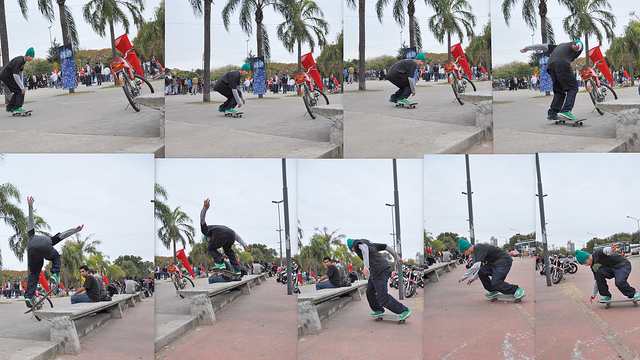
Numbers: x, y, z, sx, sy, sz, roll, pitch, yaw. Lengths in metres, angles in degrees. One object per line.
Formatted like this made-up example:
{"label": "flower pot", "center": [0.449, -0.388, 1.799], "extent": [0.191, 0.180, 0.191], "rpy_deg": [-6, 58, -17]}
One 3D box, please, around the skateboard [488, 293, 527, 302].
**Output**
{"label": "skateboard", "center": [4.078, 2.597, 7.985], "extent": [0.829, 0.138, 0.212], "rpy_deg": [1, 25, 8]}

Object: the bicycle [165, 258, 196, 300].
{"label": "bicycle", "center": [-2.971, 2.122, 7.707], "extent": [0.477, 0.526, 0.897], "rpy_deg": [20, -23, -5]}

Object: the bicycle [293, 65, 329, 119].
{"label": "bicycle", "center": [-0.379, -2.171, 8.867], "extent": [0.798, 1.114, 1.894], "rpy_deg": [-28, 13, 1]}

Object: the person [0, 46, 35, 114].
{"label": "person", "center": [-6.382, -2.068, 7.649], "extent": [0.796, 1.587, 0.182], "rpy_deg": [-7, 5, 11]}

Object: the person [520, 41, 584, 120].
{"label": "person", "center": [5.404, -2.209, 8.126], "extent": [1.108, 1.781, 0.352], "rpy_deg": [-8, 5, -1]}

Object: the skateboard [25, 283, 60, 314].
{"label": "skateboard", "center": [-5.766, 2.474, 7.449], "extent": [0.950, 0.105, 0.125], "rpy_deg": [-33, 9, -21]}

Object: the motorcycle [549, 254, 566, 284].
{"label": "motorcycle", "center": [5.462, 2.059, 8.351], "extent": [0.410, 0.562, 0.994], "rpy_deg": [12, -8, 36]}

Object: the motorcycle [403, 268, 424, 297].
{"label": "motorcycle", "center": [2.090, 2.282, 8.214], "extent": [0.397, 0.474, 0.790], "rpy_deg": [-9, -37, 22]}

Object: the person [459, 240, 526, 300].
{"label": "person", "center": [3.843, 2.016, 8.169], "extent": [1.450, 1.325, 0.713], "rpy_deg": [-5, -22, 33]}

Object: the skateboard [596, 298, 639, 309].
{"label": "skateboard", "center": [6.463, 2.688, 7.848], "extent": [0.922, 0.134, 0.253], "rpy_deg": [-3, 3, 11]}
